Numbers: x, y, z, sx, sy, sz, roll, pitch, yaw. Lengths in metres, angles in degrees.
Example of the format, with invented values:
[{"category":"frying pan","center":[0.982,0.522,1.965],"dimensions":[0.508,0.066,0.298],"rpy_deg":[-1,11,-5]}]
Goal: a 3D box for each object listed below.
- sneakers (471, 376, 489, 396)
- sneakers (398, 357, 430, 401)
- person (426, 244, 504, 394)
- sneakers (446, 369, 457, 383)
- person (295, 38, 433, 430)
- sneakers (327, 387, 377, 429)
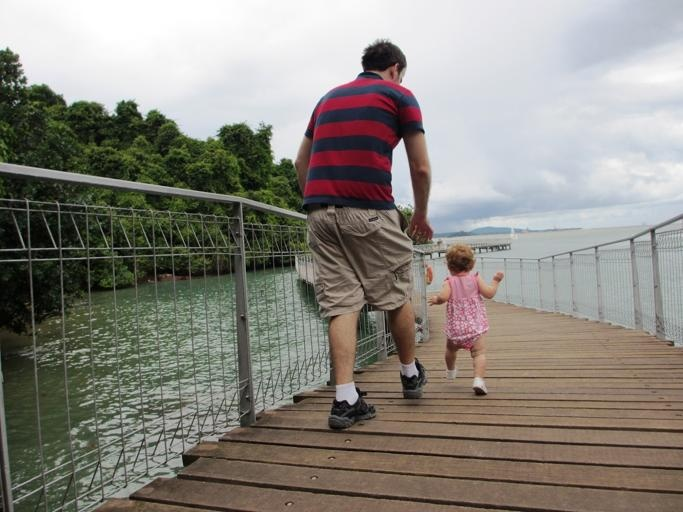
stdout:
[{"category":"sneakers","center":[0.988,0.922,3.180],"dimensions":[0.095,0.126,0.193],"rpy_deg":[-5,-1,16]},{"category":"sneakers","center":[0.515,0.854,3.159],"dimensions":[0.124,0.172,0.352],"rpy_deg":[-6,10,17]},{"category":"person","center":[1.023,0.449,3.655],"dimensions":[0.517,1.195,0.468],"rpy_deg":[-3,-1,-43]},{"category":"sneakers","center":[0.901,0.987,3.649],"dimensions":[0.070,0.083,0.181],"rpy_deg":[-1,-14,8]},{"category":"person","center":[0.185,-0.233,2.887],"dimensions":[0.840,2.262,0.403],"rpy_deg":[-4,-1,-9]},{"category":"sneakers","center":[0.054,0.944,2.747],"dimensions":[0.122,0.160,0.362],"rpy_deg":[-8,-6,40]}]
